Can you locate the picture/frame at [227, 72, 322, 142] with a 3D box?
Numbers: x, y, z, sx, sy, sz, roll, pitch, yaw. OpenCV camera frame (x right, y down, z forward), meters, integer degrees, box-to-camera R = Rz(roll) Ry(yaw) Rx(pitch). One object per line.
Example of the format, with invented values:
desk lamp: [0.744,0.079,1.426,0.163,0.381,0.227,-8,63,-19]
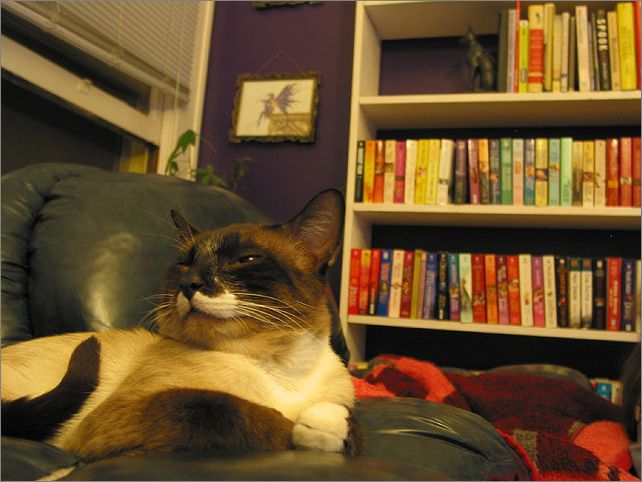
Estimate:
picture/frame: [-0.162,-0.514,2.320,0.262,0.220,0.013,4,-9,13]

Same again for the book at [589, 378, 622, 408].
book: [0.865,0.448,1.817,0.080,0.058,0.160,1,-1,25]
